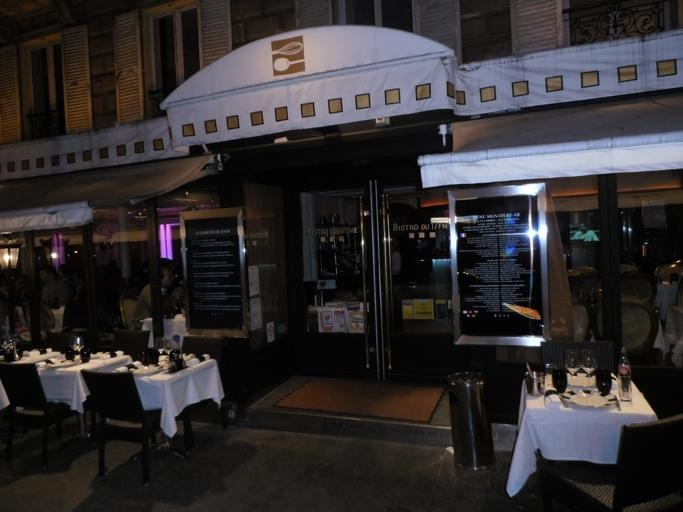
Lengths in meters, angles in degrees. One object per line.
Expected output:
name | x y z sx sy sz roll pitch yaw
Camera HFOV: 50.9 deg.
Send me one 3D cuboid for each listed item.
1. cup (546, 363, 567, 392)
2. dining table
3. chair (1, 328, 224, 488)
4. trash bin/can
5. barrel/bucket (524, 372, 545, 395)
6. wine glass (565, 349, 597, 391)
cup | 2.277 1.286 7.573 0.163 0.270 0.263 -4 -12 17
dining table | 2.439 1.677 7.091 0.960 0.574 1.023 1 8 18
chair | -2.477 1.616 8.717 2.070 1.010 1.352 2 7 18
trash bin/can | 1.489 1.850 8.121 0.502 0.909 0.528 -3 14 -2
barrel/bucket | 2.038 1.335 7.544 0.179 0.247 0.237 -1 -6 12
wine glass | 2.576 1.183 7.640 0.323 0.547 0.346 -3 0 7
